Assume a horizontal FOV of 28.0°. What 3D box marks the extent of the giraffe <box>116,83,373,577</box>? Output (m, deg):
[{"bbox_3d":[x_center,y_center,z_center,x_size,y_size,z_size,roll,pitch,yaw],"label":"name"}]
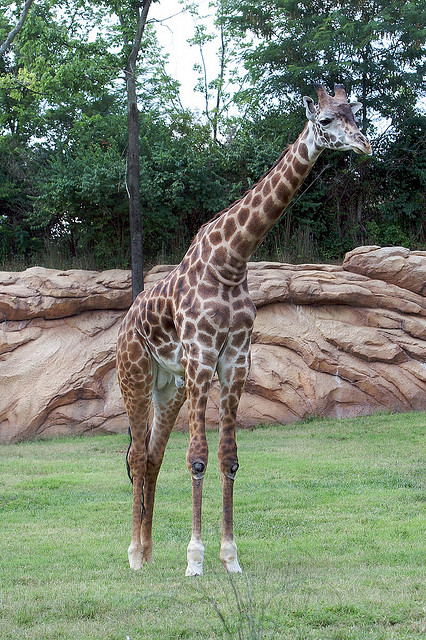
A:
[{"bbox_3d":[-0.044,0.144,7.107,2.253,3.805,1.018,-2,3,39],"label":"giraffe"}]
